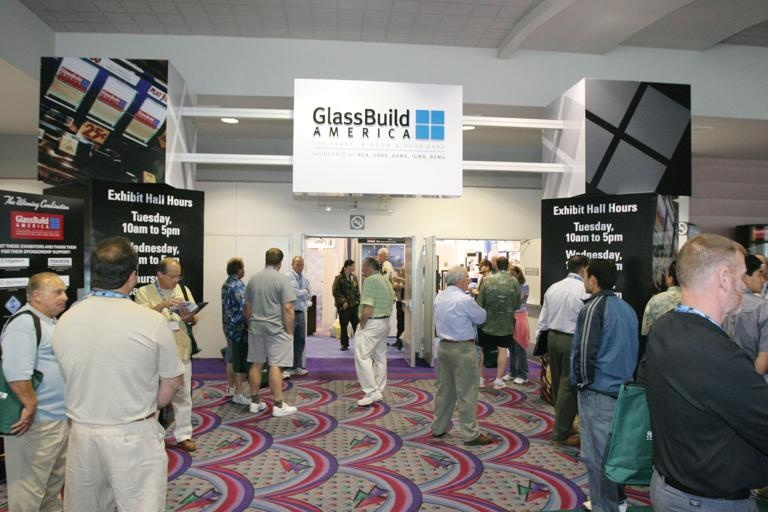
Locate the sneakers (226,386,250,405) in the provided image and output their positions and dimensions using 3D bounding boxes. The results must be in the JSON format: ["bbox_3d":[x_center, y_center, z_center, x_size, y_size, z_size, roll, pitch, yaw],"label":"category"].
[{"bbox_3d":[-1.912,1.812,7.376,0.321,0.150,0.110,31,8,-2],"label":"sneakers"}]

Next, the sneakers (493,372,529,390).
[{"bbox_3d":[1.813,1.826,8.360,0.623,0.303,0.206,5,-6,-23],"label":"sneakers"}]

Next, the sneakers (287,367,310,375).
[{"bbox_3d":[-1.343,1.770,8.815,0.262,0.121,0.116,1,-7,-5],"label":"sneakers"}]

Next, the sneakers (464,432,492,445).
[{"bbox_3d":[1.044,1.997,6.208,0.311,0.133,0.120,-5,-1,-7],"label":"sneakers"}]

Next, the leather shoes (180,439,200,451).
[{"bbox_3d":[-2.075,1.998,6.011,0.183,0.086,0.090,-5,-7,40],"label":"leather shoes"}]

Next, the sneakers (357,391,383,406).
[{"bbox_3d":[-0.171,1.858,7.458,0.134,0.158,0.375,-11,-10,43],"label":"sneakers"}]

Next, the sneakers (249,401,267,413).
[{"bbox_3d":[-1.564,1.865,7.072,0.102,0.104,0.236,2,1,21],"label":"sneakers"}]

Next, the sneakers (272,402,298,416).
[{"bbox_3d":[-1.221,1.855,6.961,0.330,0.156,0.128,1,-1,-36],"label":"sneakers"}]
